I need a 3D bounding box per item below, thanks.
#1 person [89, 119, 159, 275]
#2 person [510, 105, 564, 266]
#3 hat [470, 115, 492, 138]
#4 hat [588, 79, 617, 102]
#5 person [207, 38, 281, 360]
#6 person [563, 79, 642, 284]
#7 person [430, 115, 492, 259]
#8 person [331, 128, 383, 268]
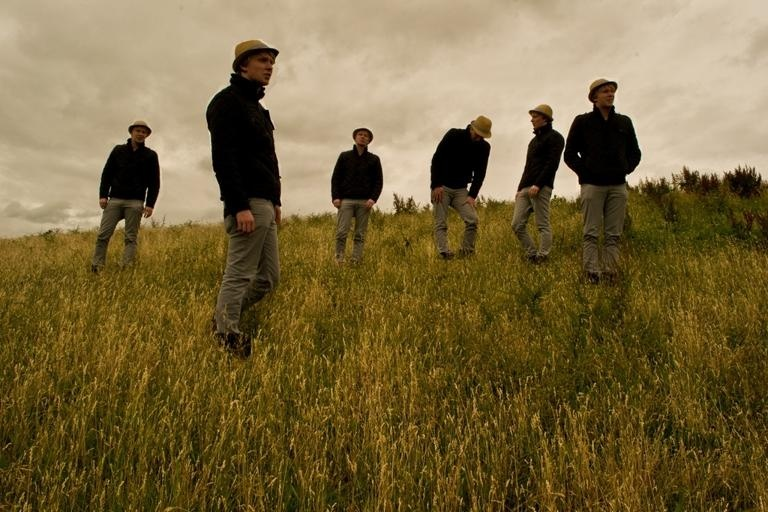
[{"bbox_3d":[-5.341,-1.310,12.500,1.172,3.346,0.884,2,-1,-24],"label":"person"},{"bbox_3d":[3.105,-1.483,12.029,1.010,2.182,0.782,2,-1,42],"label":"person"},{"bbox_3d":[1.975,-2.643,12.258,0.399,0.359,0.594,3,1,6],"label":"hat"},{"bbox_3d":[3.730,-2.868,10.262,0.412,0.441,0.799,2,1,23],"label":"hat"},{"bbox_3d":[-1.921,-0.870,8.367,0.680,4.150,1.110,1,-1,34],"label":"person"},{"bbox_3d":[3.787,-1.340,10.517,1.181,2.282,0.825,2,-1,18],"label":"person"},{"bbox_3d":[1.596,-1.418,12.684,1.177,2.275,0.762,2,-1,6],"label":"person"},{"bbox_3d":[-0.587,-1.342,12.764,1.016,2.436,0.705,2,-1,-7],"label":"person"}]
